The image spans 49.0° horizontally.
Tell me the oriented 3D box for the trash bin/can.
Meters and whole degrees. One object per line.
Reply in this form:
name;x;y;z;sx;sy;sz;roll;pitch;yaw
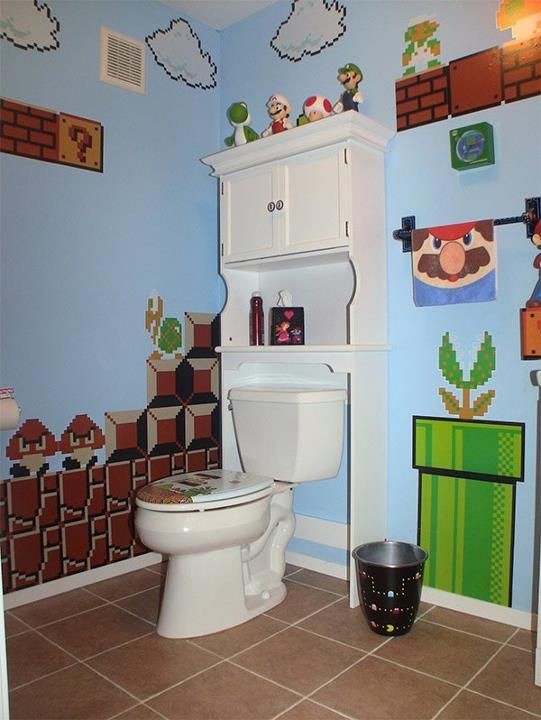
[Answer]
trash bin/can;0.358;0.695;1.792;0.216;0.226;0.220;0;-2;-18

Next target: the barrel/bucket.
barrel/bucket;0.365;0.652;1.807;0.227;0.234;0.231;-1;-1;0

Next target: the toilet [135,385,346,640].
toilet;-0.098;0.467;1.977;0.734;0.716;0.340;-3;3;-40

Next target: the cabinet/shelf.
cabinet/shelf;0.102;-0.420;2.178;0.686;0.730;0.300;2;4;45
